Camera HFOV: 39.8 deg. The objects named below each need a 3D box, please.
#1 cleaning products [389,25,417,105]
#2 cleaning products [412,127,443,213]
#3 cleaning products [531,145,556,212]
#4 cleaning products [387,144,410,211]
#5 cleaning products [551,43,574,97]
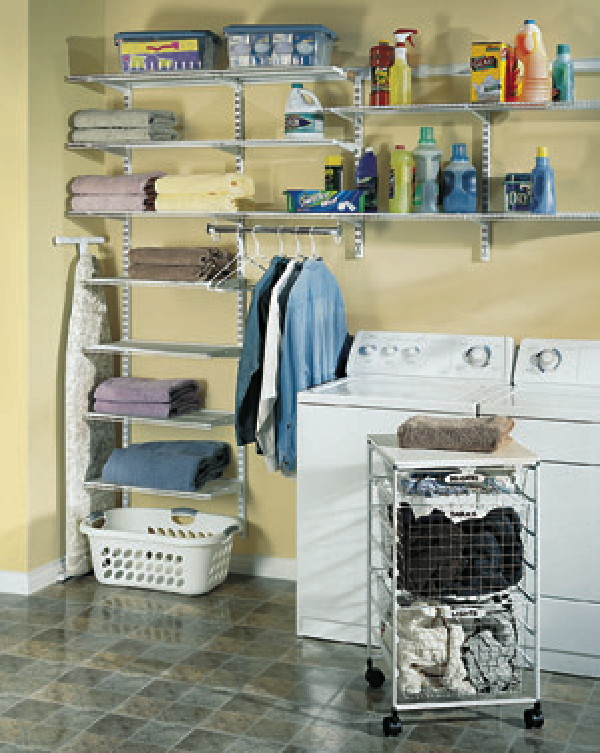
[{"bbox_3d":[0.348,-1.036,2.808,0.097,0.239,0.064,7,26,12],"label":"cleaning products"},{"bbox_3d":[0.441,-0.709,2.881,0.097,0.320,0.242,1,5,9],"label":"cleaning products"},{"bbox_3d":[0.800,-0.631,2.710,0.076,0.220,0.119,2,5,16],"label":"cleaning products"},{"bbox_3d":[0.352,-0.681,2.891,0.080,0.235,0.089,1,5,8],"label":"cleaning products"},{"bbox_3d":[0.835,-0.955,2.628,0.060,0.171,0.046,2,6,14],"label":"cleaning products"}]
